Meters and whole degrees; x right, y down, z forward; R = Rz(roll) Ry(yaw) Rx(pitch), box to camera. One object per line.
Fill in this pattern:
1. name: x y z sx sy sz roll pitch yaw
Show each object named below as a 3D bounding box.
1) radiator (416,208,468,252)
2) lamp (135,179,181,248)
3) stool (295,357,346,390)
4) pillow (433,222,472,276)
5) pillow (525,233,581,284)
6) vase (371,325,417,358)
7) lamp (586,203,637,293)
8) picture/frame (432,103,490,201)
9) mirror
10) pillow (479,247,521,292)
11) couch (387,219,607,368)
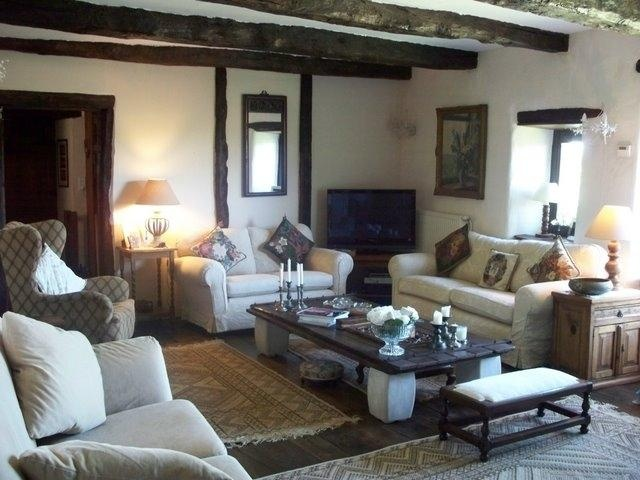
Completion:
1. radiator: 1.615 -0.139 6.586 0.075 0.494 0.549 -11 18 -34
2. lamp: -1.890 -0.323 5.912 0.452 0.763 0.541 -3 10 -18
3. stool: 0.006 1.134 4.267 0.354 0.119 0.365 0 3 -6
4. pillow: 1.587 0.099 5.883 0.166 0.518 0.551 25 -38 -26
5. pillow: 2.211 0.196 4.788 0.275 0.436 0.420 0 9 -6
6. vase: 0.524 0.688 3.542 0.252 0.167 0.243 -2 5 -28
7. lamp: 2.631 0.059 4.593 0.348 0.742 0.588 7 11 34
8. picture/frame: 1.822 -1.133 6.570 0.126 1.173 0.870 -5 11 -30
9. mirror: -0.729 -1.248 6.681 0.651 1.323 0.083 -5 11 -30
10. pillow: 1.837 0.311 5.216 0.109 0.350 0.388 20 -2 -26
11. couch: 1.853 0.589 5.131 1.242 1.165 2.212 3 0 -29
